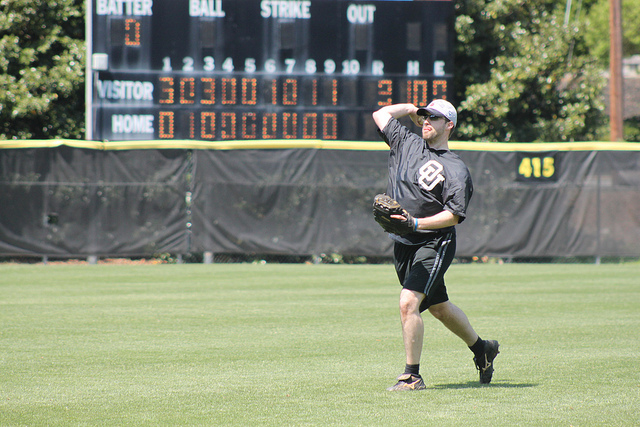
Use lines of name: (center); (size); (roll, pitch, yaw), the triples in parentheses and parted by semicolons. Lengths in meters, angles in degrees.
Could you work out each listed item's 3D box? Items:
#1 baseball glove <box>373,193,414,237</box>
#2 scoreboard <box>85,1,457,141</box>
baseball glove: (1.161, 0.012, 23.220); (0.602, 0.621, 0.254); (2, 5, 35)
scoreboard: (-1.288, -3.184, 32.086); (7.774, 3.177, 0.774); (-1, 4, -3)
